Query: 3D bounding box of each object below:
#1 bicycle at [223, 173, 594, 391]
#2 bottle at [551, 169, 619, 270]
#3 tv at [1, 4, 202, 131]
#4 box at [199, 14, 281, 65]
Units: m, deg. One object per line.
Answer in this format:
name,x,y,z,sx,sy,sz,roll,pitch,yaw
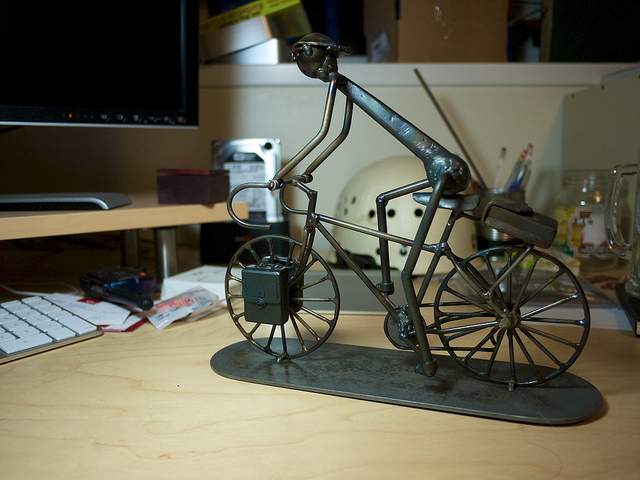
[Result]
bicycle,0.137,0.027,0.955,0.578,0.259,0.543,-1,5,-1
bottle,0.517,-0.040,1.139,0.111,0.180,0.160,-4,8,-19
tv,-0.348,-0.287,0.976,0.303,0.202,0.060,-4,5,-30
box,-0.167,-0.421,1.257,0.164,0.101,0.082,-2,5,-9
